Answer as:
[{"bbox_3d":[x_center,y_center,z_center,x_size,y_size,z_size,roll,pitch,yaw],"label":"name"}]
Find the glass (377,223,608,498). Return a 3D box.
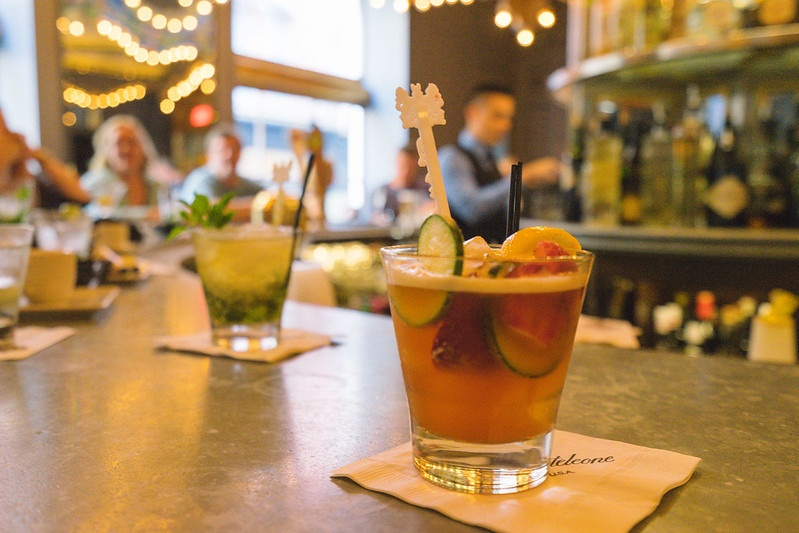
[{"bbox_3d":[0.124,0.118,0.948,0.366,0.367,0.331,0,-1,-4],"label":"glass"}]

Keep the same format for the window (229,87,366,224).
[{"bbox_3d":[-1.216,-1.312,8.044,1.905,1.484,0.645,-2,7,-37],"label":"window"}]

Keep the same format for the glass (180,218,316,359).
[{"bbox_3d":[-0.261,0.048,1.307,0.272,0.271,0.248,-1,0,-5],"label":"glass"}]

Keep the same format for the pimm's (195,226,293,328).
[{"bbox_3d":[-0.280,0.025,1.365,0.222,0.209,0.207,-1,-4,-5],"label":"pimm's"}]

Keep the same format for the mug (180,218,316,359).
[{"bbox_3d":[-0.263,0.048,1.306,0.272,0.271,0.248,-1,0,-5],"label":"mug"}]
